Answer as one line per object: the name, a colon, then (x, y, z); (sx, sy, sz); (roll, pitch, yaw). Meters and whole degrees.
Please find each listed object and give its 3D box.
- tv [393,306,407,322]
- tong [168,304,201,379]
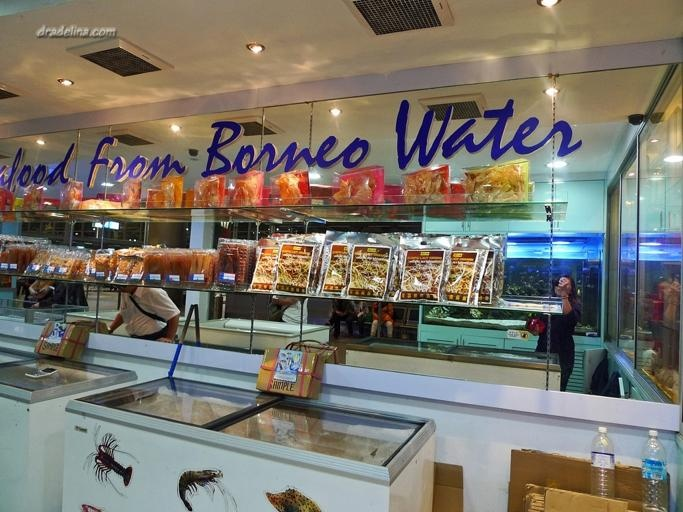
tv: (0.356, 0.354, 2.780); (0.116, 0.093, 0.056); (0, 9, 8)
tong: (-1.161, 0.606, 3.404); (0.223, 0.560, 0.193); (12, 3, 36)
